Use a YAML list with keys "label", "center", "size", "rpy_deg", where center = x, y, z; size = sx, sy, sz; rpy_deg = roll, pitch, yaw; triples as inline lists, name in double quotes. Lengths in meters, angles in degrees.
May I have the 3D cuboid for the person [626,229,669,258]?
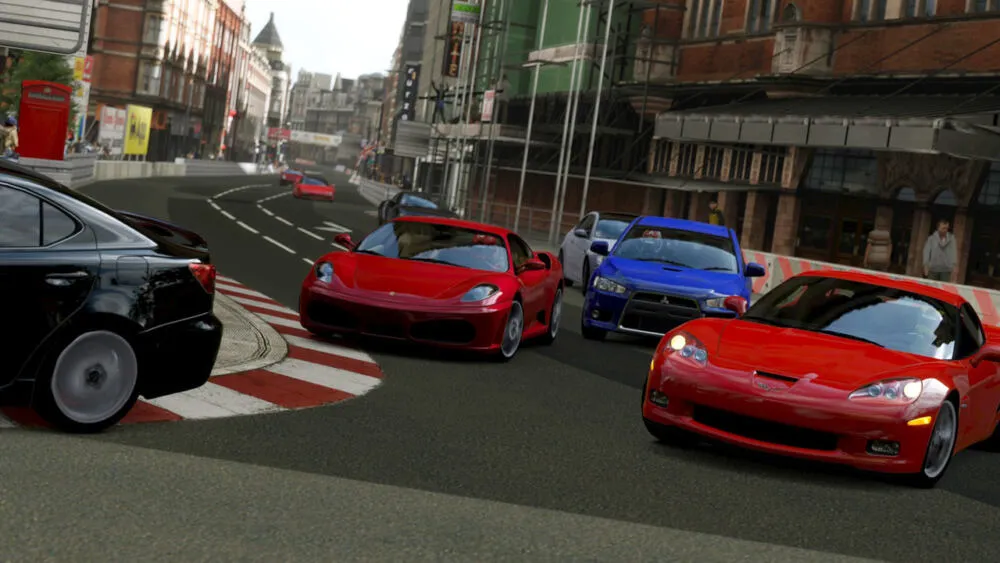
- label: "person"
  center: [2.871, -0.713, 13.396]
  size: [0.466, 0.218, 0.715]
  rpy_deg: [4, 44, 7]
